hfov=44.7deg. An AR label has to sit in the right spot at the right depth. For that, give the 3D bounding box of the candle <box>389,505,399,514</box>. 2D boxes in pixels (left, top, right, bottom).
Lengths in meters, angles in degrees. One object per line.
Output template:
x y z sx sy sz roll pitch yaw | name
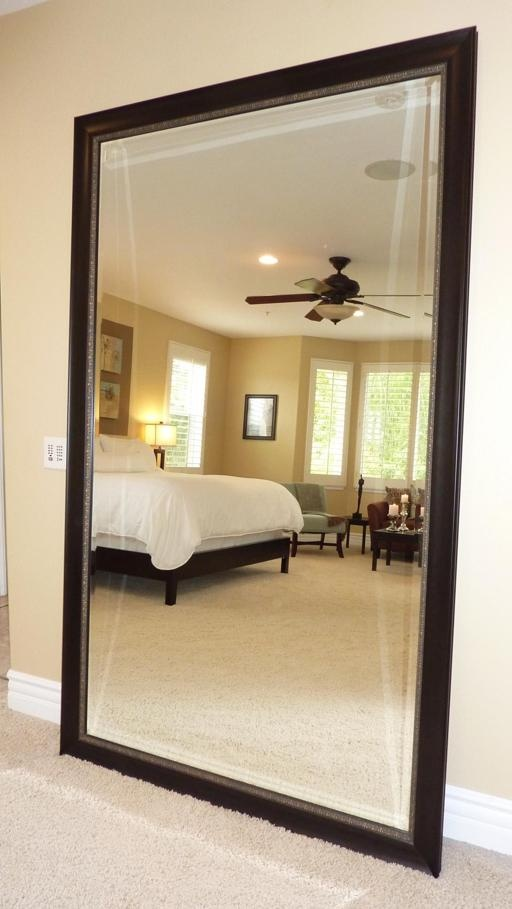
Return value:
0.346 0.138 1.567 0.021 0.027 0.021 7 -9 -33 | candle

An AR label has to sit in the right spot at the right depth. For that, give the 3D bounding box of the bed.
-0.179 0.147 1.911 0.590 0.411 0.404 1 2 36 | bed

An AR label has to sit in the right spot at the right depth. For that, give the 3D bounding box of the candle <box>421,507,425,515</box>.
0.409 0.140 1.528 0.003 0.026 0.014 2 -1 -33 | candle

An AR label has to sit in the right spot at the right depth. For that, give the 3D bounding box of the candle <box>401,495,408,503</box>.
0.373 0.110 1.561 0.015 0.021 0.017 -2 3 7 | candle

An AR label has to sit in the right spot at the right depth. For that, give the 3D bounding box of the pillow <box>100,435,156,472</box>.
-0.422 0.004 1.940 0.150 0.133 0.046 5 1 21 | pillow

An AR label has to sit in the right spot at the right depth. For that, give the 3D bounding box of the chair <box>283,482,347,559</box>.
0.165 0.178 1.660 0.122 0.209 0.172 1 -1 -19 | chair

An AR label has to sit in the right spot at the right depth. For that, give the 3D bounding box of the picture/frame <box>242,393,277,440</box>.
0.013 -0.104 1.727 0.104 0.158 0.014 1 -3 27 | picture/frame
